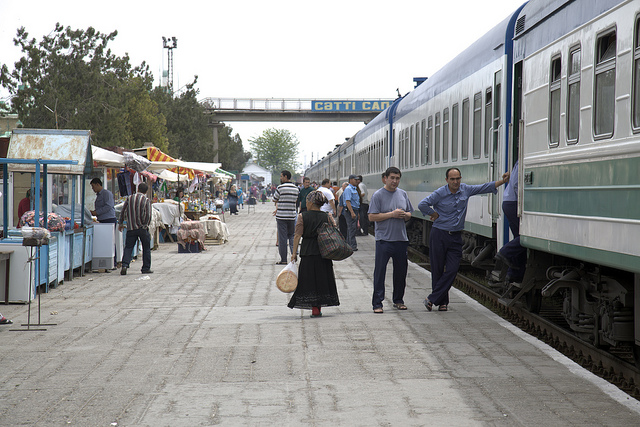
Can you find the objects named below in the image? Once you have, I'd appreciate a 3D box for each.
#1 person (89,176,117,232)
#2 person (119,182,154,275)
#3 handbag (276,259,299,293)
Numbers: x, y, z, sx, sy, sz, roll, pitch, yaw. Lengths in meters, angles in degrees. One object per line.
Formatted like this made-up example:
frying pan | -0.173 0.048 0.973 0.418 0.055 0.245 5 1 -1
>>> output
person | -5.607 -0.292 14.197 0.623 1.290 1.455 -1 2 -22
person | -4.622 0.501 13.729 0.781 2.003 0.846 -1 2 -19
handbag | -0.498 1.074 8.853 0.309 0.624 0.394 9 -27 6
